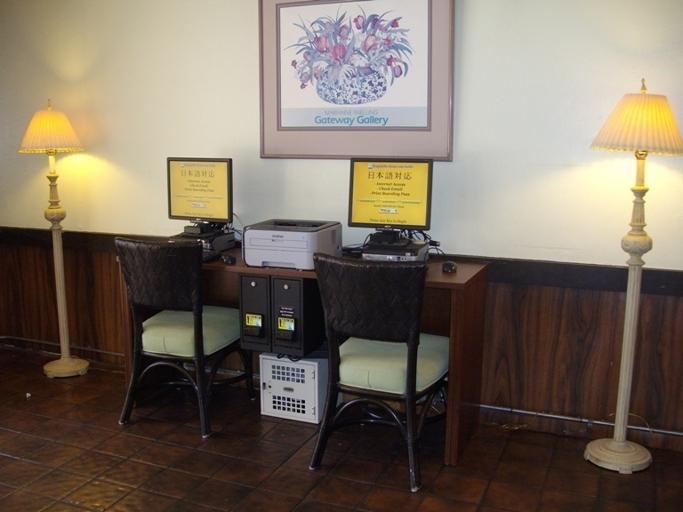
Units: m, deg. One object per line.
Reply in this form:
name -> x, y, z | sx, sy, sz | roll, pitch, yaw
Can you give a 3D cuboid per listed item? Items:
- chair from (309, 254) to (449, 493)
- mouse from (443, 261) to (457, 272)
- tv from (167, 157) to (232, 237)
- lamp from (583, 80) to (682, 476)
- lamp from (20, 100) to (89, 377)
chair -> 0.224, 0.565, 3.118 | 0.707, 1.216, 0.486 | 2, 10, 18
mouse -> 0.623, 0.054, 3.238 | 0.059, 0.046, 0.060 | 4, 12, 9
tv -> -0.942, -0.413, 3.836 | 0.519, 0.522, 0.187 | 1, 2, 18
lamp -> 1.586, 0.097, 3.094 | 0.490, 2.099, 0.386 | -8, 11, -33
lamp -> -2.118, -0.140, 4.295 | 0.410, 2.029, 0.526 | -6, 10, -25
